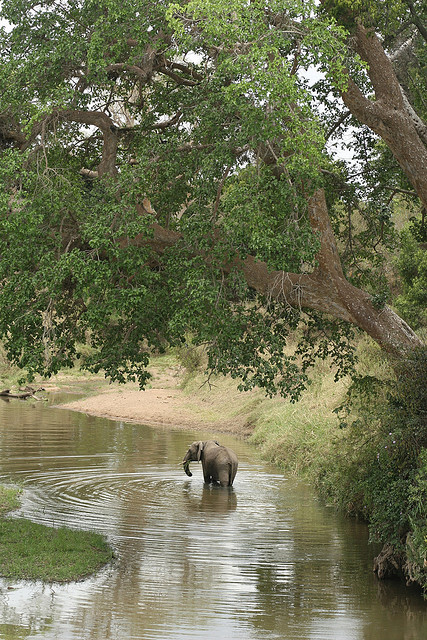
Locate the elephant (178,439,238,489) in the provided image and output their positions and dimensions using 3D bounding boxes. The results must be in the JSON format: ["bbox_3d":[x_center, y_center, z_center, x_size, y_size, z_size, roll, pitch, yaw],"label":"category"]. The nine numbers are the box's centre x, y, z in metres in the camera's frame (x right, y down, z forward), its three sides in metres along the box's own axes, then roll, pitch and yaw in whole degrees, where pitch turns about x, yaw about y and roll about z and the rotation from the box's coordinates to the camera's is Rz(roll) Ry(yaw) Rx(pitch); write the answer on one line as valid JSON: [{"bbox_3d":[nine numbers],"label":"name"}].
[{"bbox_3d":[-0.097,3.332,18.519,0.559,1.052,1.576,5,1,-42],"label":"elephant"}]
